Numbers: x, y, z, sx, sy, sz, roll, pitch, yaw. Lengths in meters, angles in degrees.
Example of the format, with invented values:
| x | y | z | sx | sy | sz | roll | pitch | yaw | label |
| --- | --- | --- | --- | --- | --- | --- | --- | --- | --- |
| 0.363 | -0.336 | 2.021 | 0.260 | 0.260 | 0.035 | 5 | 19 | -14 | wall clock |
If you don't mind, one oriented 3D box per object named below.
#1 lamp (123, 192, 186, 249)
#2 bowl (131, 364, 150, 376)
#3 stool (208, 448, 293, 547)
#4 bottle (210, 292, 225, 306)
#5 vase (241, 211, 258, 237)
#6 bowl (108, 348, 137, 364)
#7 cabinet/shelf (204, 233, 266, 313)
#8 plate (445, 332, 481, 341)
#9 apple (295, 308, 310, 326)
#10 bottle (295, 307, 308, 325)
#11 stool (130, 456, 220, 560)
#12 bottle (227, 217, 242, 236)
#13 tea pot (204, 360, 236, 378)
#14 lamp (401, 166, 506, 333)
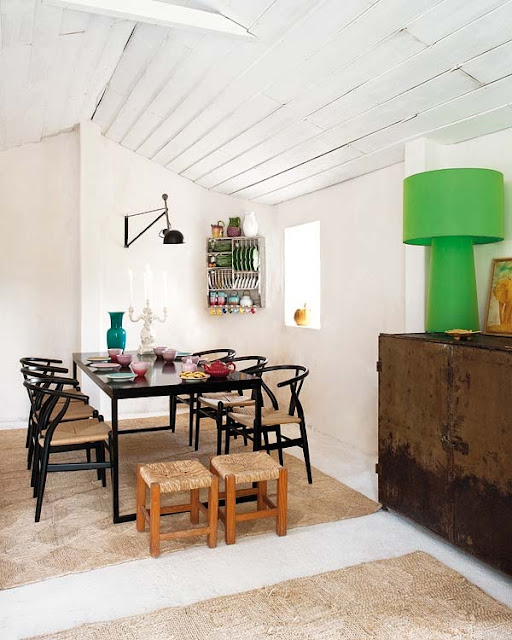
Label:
| x | y | z | sx | sy | sz | roll | pitch | yaw | label |
| --- | --- | --- | --- | --- | --- | --- | --- | --- | --- |
| -0.964 | -0.910 | 4.751 | 0.203 | 0.555 | 0.646 | 6 | 4 | 41 | lamp |
| -0.674 | 0.286 | 2.974 | 0.084 | 0.068 | 0.081 | 0 | 6 | 0 | bowl |
| -0.007 | 0.825 | 2.487 | 0.383 | 0.403 | 0.369 | -2 | 1 | -23 | stool |
| -0.384 | -0.206 | 5.050 | 0.144 | 0.133 | 0.101 | -1 | 2 | -36 | bottle |
| -0.058 | -0.924 | 5.000 | 0.145 | 0.250 | 0.157 | 0 | 2 | -3 | vase |
| -0.925 | 0.251 | 3.465 | 0.126 | 0.060 | 0.201 | 1 | 2 | -10 | bowl |
| -0.266 | -0.400 | 5.069 | 0.488 | 0.686 | 0.223 | -1 | -24 | -18 | cabinet/shelf |
| 0.941 | 0.075 | 2.362 | 0.076 | 0.039 | 0.115 | -1 | 10 | -1 | plate |
| 0.444 | -0.025 | 4.924 | 0.149 | 0.213 | 0.154 | 3 | -2 | -19 | apple |
| 0.438 | -0.035 | 4.928 | 0.145 | 0.206 | 0.149 | 3 | -2 | 0 | bottle |
| -0.371 | 0.834 | 2.350 | 0.385 | 0.404 | 0.377 | -1 | -1 | -23 | stool |
| -0.215 | -0.915 | 5.041 | 0.154 | 0.202 | 0.100 | 0 | 2 | -8 | bottle |
| -0.218 | 0.276 | 2.858 | 0.123 | 0.073 | 0.093 | 2 | 1 | 12 | tea pot |
| 1.009 | -0.338 | 2.655 | 0.502 | 0.808 | 0.436 | 1 | 2 | 26 | lamp |
